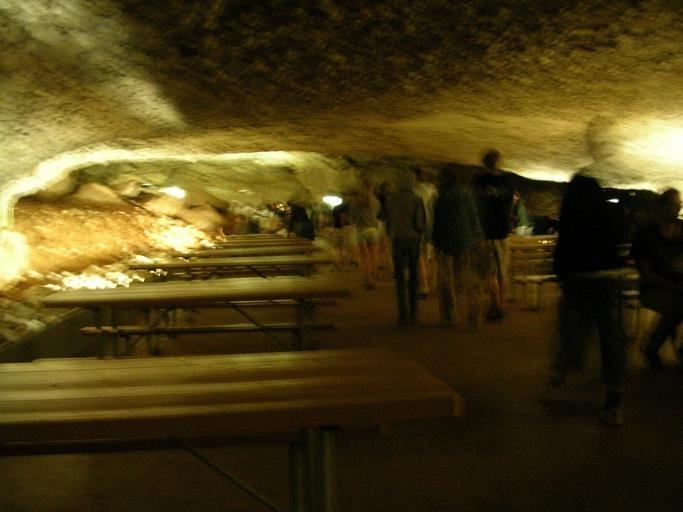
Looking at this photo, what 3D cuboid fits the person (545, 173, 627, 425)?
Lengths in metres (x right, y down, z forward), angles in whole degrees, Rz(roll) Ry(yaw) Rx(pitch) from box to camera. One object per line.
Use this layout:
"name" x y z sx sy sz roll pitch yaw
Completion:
"person" 1.725 0.243 4.127 0.513 1.674 0.848 -9 12 -3
